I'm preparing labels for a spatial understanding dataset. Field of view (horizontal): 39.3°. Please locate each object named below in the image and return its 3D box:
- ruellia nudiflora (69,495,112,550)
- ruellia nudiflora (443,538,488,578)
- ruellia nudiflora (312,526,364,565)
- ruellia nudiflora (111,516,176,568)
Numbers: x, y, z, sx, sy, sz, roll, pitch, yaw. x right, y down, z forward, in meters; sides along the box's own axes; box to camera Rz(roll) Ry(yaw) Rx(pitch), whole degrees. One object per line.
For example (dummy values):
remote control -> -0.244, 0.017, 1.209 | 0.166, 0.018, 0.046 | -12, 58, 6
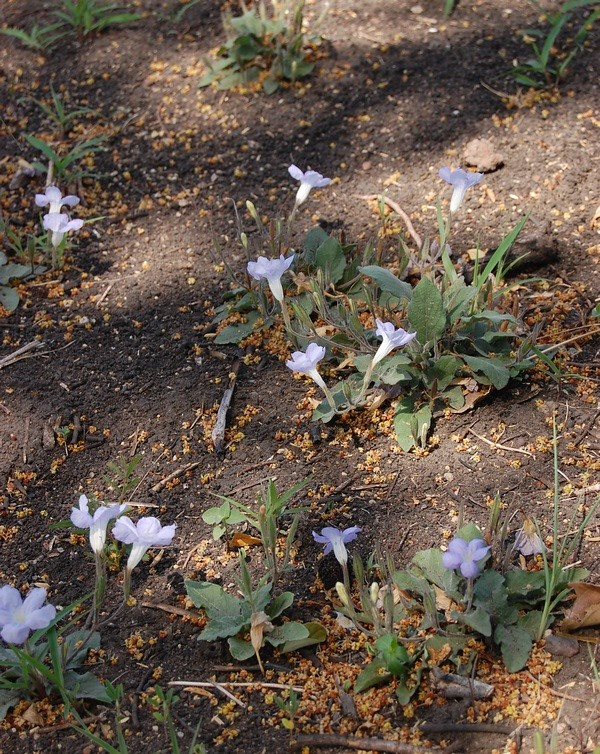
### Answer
ruellia nudiflora -> -0.604, 0.439, 2.515 | 0.153, 0.169, 0.085 | 21, 23, 38
ruellia nudiflora -> 0.449, 0.482, 2.310 | 0.150, 0.118, 0.161 | -3, -7, 10
ruellia nudiflora -> 0.124, 0.537, 2.654 | 0.134, 0.115, 0.137 | 14, 29, -15
ruellia nudiflora -> -0.453, 0.476, 2.468 | 0.171, 0.179, 0.102 | -11, 38, -11
